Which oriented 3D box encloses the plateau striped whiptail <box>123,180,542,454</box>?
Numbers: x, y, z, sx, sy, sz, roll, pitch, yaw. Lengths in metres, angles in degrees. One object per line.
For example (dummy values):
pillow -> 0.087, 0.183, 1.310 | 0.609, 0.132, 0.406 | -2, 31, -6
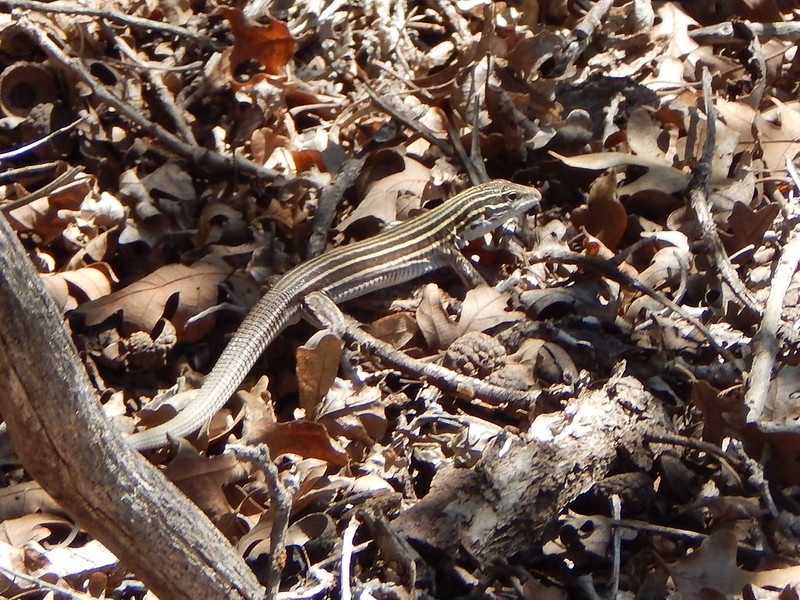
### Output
plateau striped whiptail -> -0.302, 0.081, 5.051 | 2.516, 0.451, 2.004 | -30, 19, -5
